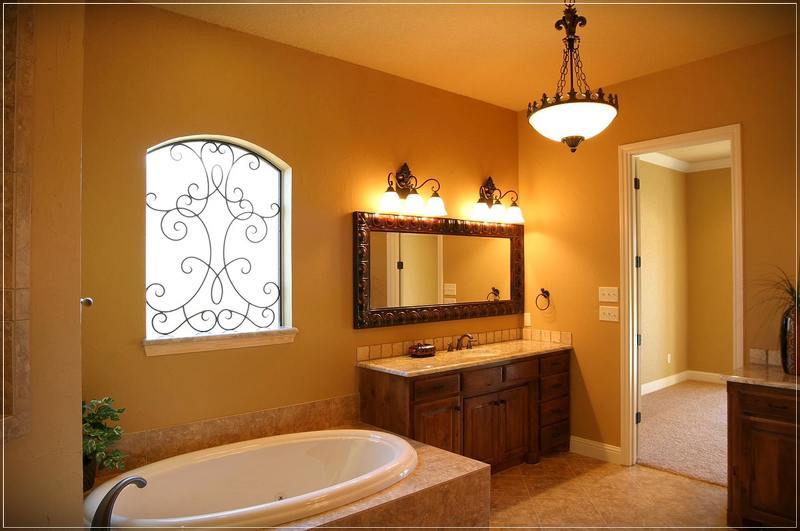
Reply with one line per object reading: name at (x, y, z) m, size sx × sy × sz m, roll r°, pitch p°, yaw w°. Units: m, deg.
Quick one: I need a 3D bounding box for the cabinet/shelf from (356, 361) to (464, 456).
cabinet/shelf at (0.092, 1.200, 4.790) m, size 0.626 × 0.982 × 0.666 m, roll -8°, pitch 14°, yaw -27°

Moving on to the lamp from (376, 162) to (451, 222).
lamp at (0.152, -0.633, 5.089) m, size 0.734 × 0.463 × 0.287 m, roll -6°, pitch 7°, yaw -42°

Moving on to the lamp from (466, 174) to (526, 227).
lamp at (0.913, -0.641, 5.748) m, size 0.546 × 0.431 × 0.299 m, roll 8°, pitch 3°, yaw 37°

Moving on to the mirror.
mirror at (0.409, 0.043, 5.294) m, size 1.816 × 1.030 × 0.065 m, roll -1°, pitch 4°, yaw -31°

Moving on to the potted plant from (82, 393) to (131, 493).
potted plant at (-1.798, 1.049, 3.679) m, size 0.242 × 0.441 × 0.259 m, roll -5°, pitch 0°, yaw -5°

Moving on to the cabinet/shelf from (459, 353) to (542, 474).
cabinet/shelf at (0.723, 1.265, 5.137) m, size 1.078 × 0.933 × 0.393 m, roll -2°, pitch 3°, yaw -39°

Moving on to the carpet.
carpet at (2.958, 1.616, 6.434) m, size 0.940 × 0.026 × 2.261 m, roll -15°, pitch 3°, yaw 24°
